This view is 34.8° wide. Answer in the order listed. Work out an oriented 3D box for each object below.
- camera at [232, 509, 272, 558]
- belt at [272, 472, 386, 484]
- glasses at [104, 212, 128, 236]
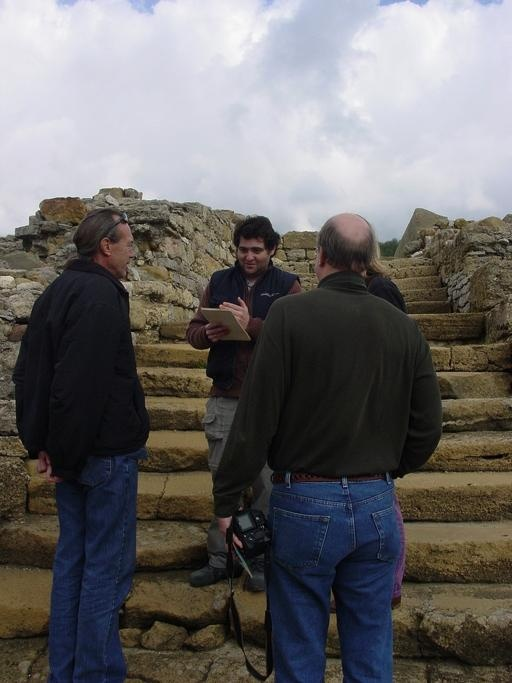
[{"bbox_3d":[-0.036,0.719,3.070,0.140,0.166,0.072,-11,-32,-34],"label":"camera"},{"bbox_3d":[0.271,0.509,3.032,0.424,0.051,0.102,1,1,6],"label":"belt"},{"bbox_3d":[-0.619,-0.506,3.648,0.116,0.032,0.107,-28,12,3],"label":"glasses"}]
